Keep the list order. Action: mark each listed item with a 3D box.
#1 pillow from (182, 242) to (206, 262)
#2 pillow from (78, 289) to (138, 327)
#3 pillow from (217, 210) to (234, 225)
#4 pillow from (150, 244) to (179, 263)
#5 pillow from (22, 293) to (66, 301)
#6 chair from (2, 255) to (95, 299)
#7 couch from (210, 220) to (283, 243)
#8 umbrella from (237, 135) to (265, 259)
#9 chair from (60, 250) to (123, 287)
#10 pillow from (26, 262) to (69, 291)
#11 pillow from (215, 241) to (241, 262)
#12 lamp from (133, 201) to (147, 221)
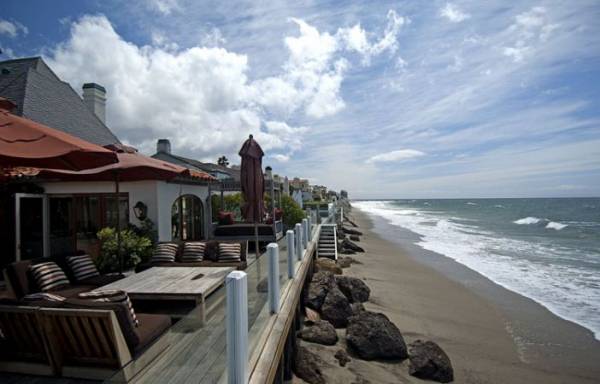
[{"bbox_3d":[-3.794,2.134,12.209,0.693,0.616,0.667,0,-12,0],"label":"pillow"},{"bbox_3d":[-4.563,2.759,8.118,1.644,0.824,0.568,-6,-9,29],"label":"pillow"},{"bbox_3d":[-3.788,1.320,17.371,0.678,0.673,0.209,3,-10,-21],"label":"pillow"},{"bbox_3d":[-4.775,2.161,12.143,0.859,0.636,0.492,0,-2,-15],"label":"pillow"},{"bbox_3d":[-6.230,2.615,8.522,0.875,0.172,0.558,-1,-3,14],"label":"pillow"},{"bbox_3d":[-7.534,2.505,10.123,1.891,1.092,1.076,1,-3,-29],"label":"chair"},{"bbox_3d":[-2.572,1.719,16.225,3.684,1.244,2.199,-1,-10,-1],"label":"couch"},{"bbox_3d":[-1.753,0.095,12.593,0.872,4.337,0.553,0,-2,-6],"label":"umbrella"},{"bbox_3d":[-6.605,2.587,11.214,1.807,1.219,1.076,-1,-5,3],"label":"chair"},{"bbox_3d":[-7.411,2.488,10.087,0.217,0.786,0.828,-42,-15,21],"label":"pillow"},{"bbox_3d":[-2.469,2.102,11.971,0.711,0.658,0.299,4,-12,5],"label":"pillow"},{"bbox_3d":[-6.676,0.799,14.356,0.542,0.805,0.257,0,-2,-15],"label":"lamp"}]
